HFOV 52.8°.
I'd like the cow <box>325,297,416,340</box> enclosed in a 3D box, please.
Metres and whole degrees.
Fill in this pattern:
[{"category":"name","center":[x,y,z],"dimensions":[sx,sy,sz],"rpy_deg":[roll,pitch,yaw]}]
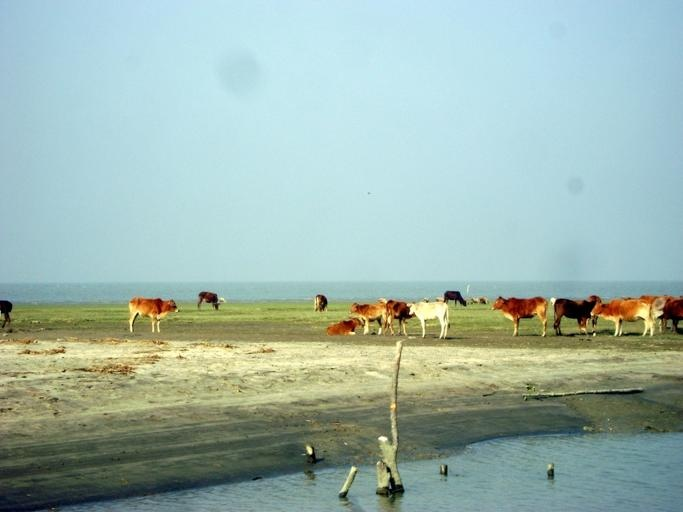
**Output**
[{"category":"cow","center":[2.367,3.587,40.293],"dimensions":[3.026,1.929,3.544],"rpy_deg":[0,1,-12]}]
